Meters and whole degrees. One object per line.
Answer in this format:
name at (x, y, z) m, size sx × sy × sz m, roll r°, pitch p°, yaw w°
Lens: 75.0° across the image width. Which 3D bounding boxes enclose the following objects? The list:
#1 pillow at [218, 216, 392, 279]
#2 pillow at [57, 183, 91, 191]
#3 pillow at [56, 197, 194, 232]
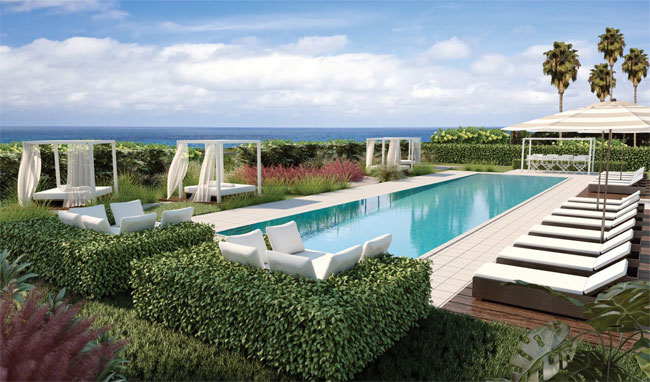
pillow at (-0.557, 1.000, 7.069) m, size 1.483 × 0.456 × 1.488 m, roll 2°, pitch 6°, yaw 35°
pillow at (-7.737, -0.151, 13.040) m, size 1.142 × 0.252 × 0.364 m, roll -1°, pitch 5°, yaw 14°
pillow at (-4.272, 0.532, 9.028) m, size 1.494 × 0.479 × 1.513 m, roll 2°, pitch 6°, yaw 34°
